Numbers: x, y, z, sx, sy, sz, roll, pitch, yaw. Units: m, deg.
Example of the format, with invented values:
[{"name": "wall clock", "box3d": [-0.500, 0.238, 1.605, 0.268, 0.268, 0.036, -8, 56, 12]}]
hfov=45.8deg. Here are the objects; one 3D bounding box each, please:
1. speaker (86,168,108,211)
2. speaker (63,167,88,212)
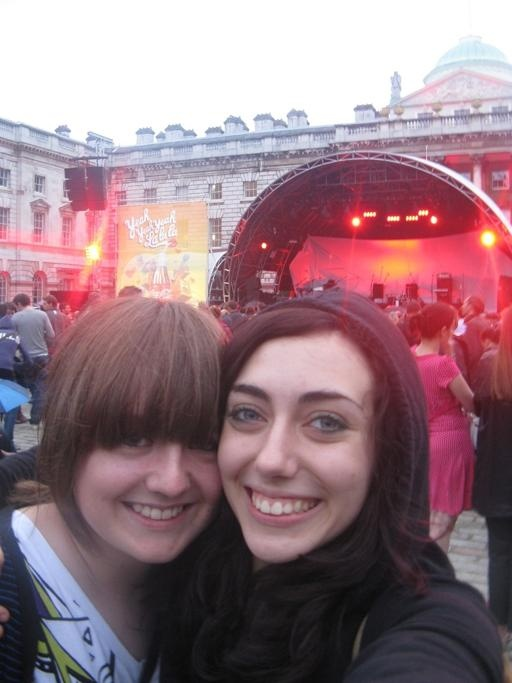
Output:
[{"name": "speaker", "box3d": [-4.460, -4.250, 16.854, 0.532, 1.105, 0.719, -1, 5, -15]}, {"name": "speaker", "box3d": [-5.007, -4.317, 16.953, 0.538, 1.251, 0.967, -3, 6, -34]}]
